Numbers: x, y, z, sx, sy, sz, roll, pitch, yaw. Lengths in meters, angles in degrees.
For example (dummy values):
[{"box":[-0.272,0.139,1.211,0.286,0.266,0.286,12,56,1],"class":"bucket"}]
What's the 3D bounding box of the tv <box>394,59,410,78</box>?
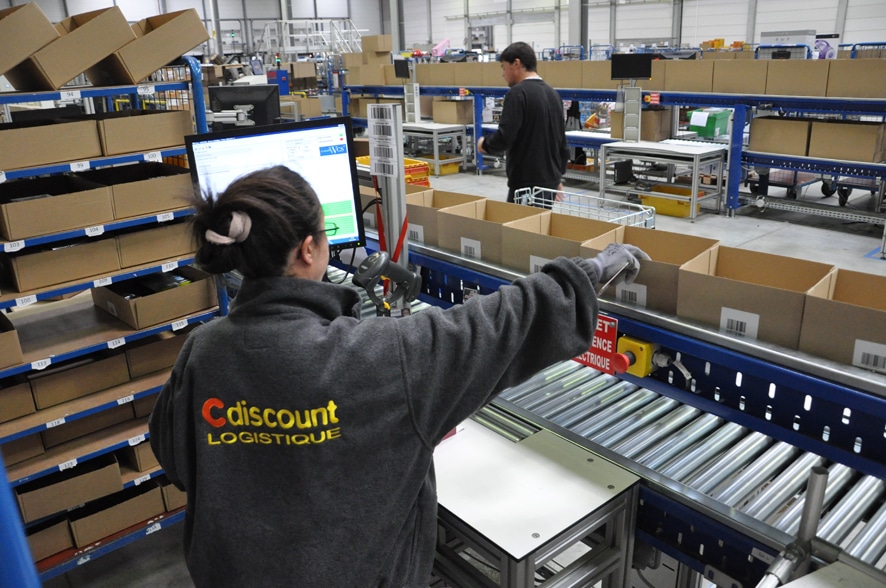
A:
[{"box":[-0.649,-3.713,9.745,0.316,0.295,0.221,10,25,18],"class":"tv"}]
